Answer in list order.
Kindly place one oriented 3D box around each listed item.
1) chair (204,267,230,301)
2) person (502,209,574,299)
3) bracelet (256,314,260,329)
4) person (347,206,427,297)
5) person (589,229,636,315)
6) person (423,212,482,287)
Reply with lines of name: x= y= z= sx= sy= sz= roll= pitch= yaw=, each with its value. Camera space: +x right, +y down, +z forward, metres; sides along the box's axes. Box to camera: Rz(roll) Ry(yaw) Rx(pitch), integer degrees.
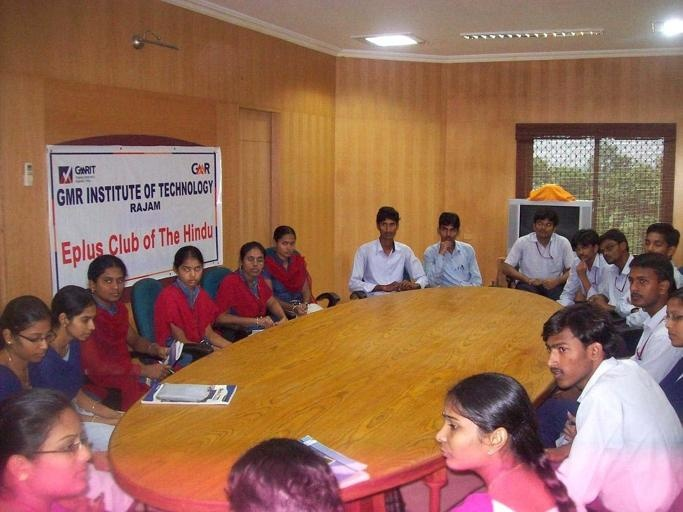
chair: x=-1.097 y=0.229 z=4.669 sx=0.211 sy=0.294 sz=0.226 roll=1 pitch=-1 yaw=-37
person: x=2.410 y=-0.046 z=6.610 sx=0.940 sy=1.305 sz=0.954 roll=4 pitch=7 yaw=18
bracelet: x=-0.686 y=0.550 z=4.432 sx=0.028 sy=0.086 sz=0.061 roll=0 pitch=23 yaw=0
person: x=0.507 y=-0.012 z=5.954 sx=0.857 sy=1.048 sz=0.624 roll=-1 pitch=1 yaw=-3
person: x=2.603 y=0.181 z=5.013 sx=0.481 sy=0.867 sz=0.570 roll=-4 pitch=4 yaw=23
person: x=1.242 y=-0.058 z=6.087 sx=0.592 sy=0.834 sz=0.412 roll=-3 pitch=11 yaw=-23
